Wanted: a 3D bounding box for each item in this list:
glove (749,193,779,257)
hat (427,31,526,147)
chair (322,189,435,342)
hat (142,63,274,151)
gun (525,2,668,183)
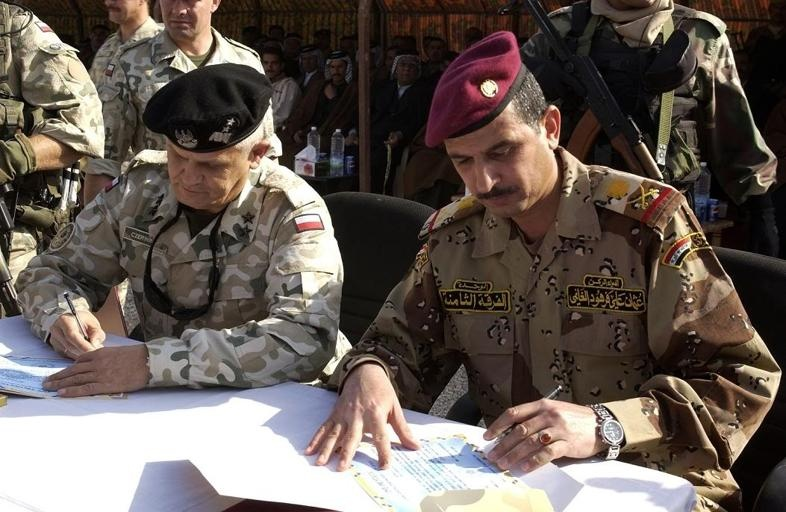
[{"bbox_3d":[2.542,-0.207,4.917,0.125,0.118,0.486,-7,-42,20],"label":"glove"},{"bbox_3d":[0.291,-0.622,2.621,0.373,0.536,0.184,-2,-47,51],"label":"hat"},{"bbox_3d":[-0.070,0.027,3.533,0.536,0.760,0.403,1,-4,-1],"label":"chair"},{"bbox_3d":[-0.741,-0.605,2.900,0.494,0.383,0.261,6,6,-22],"label":"hat"},{"bbox_3d":[1.169,-0.914,4.140,0.598,1.072,0.575,-1,1,-23],"label":"gun"}]
